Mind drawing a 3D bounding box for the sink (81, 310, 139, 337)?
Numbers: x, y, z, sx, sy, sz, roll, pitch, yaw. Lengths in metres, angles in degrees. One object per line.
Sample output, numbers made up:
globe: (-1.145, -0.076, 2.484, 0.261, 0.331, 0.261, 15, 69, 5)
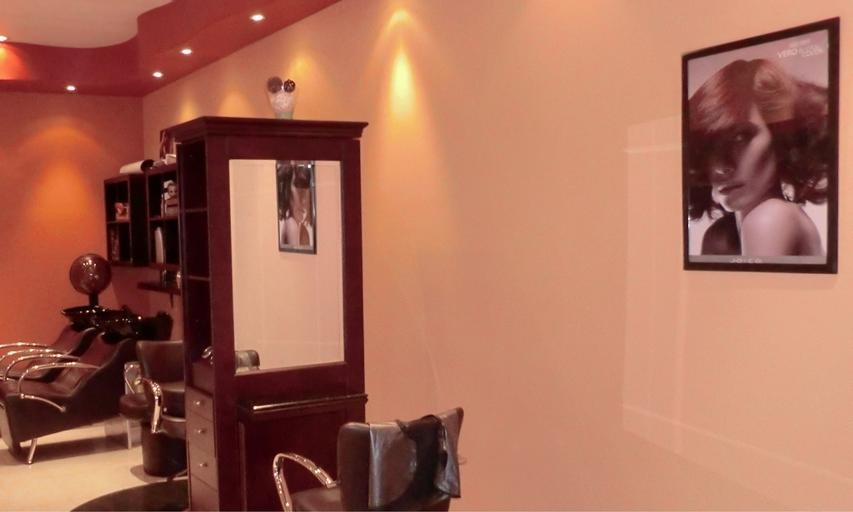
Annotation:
sink: (-3.396, 0.700, 6.728, 0.341, 0.151, 0.482, 2, 6, -37)
